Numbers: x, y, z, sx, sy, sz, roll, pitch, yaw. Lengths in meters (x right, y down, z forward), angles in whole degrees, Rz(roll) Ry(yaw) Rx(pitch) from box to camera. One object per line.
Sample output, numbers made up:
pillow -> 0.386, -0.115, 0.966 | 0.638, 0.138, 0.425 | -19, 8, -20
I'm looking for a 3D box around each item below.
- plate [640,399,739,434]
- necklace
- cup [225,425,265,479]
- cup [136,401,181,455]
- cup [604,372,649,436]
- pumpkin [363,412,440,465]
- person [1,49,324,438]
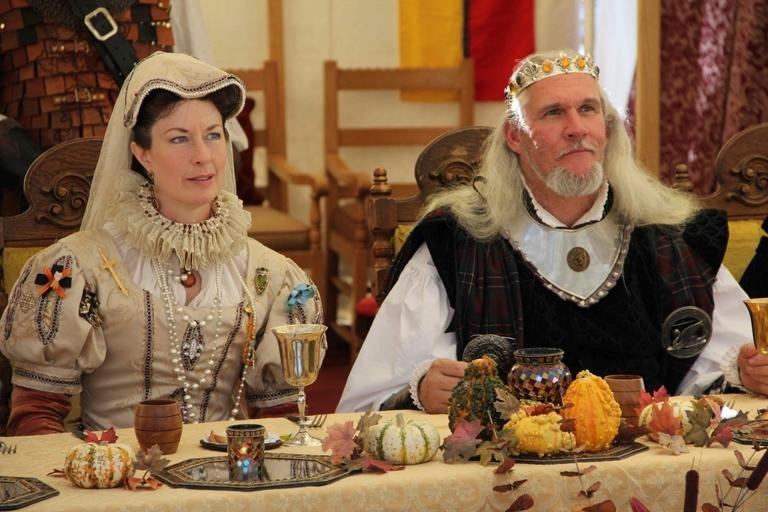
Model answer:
plate -> 0.946, 0.506, 3.168 | 0.187, 0.056, 0.177 | -6, 2, -19
necklace -> -0.720, 0.303, 3.848 | 0.378, 0.625, 0.148 | -1, 5, -10
cup -> -0.418, 0.591, 3.023 | 0.108, 0.156, 0.136 | -1, -5, -8
cup -> -0.710, 0.543, 3.173 | 0.168, 0.149, 0.162 | -1, 1, 0
cup -> 0.821, 0.502, 3.314 | 0.155, 0.175, 0.177 | 1, -16, -38
pumpkin -> 0.045, 0.562, 3.117 | 0.230, 0.155, 0.233 | -4, -7, -7
person -> -0.872, -0.059, 3.902 | 1.165, 1.434, 0.362 | -1, -5, -6
